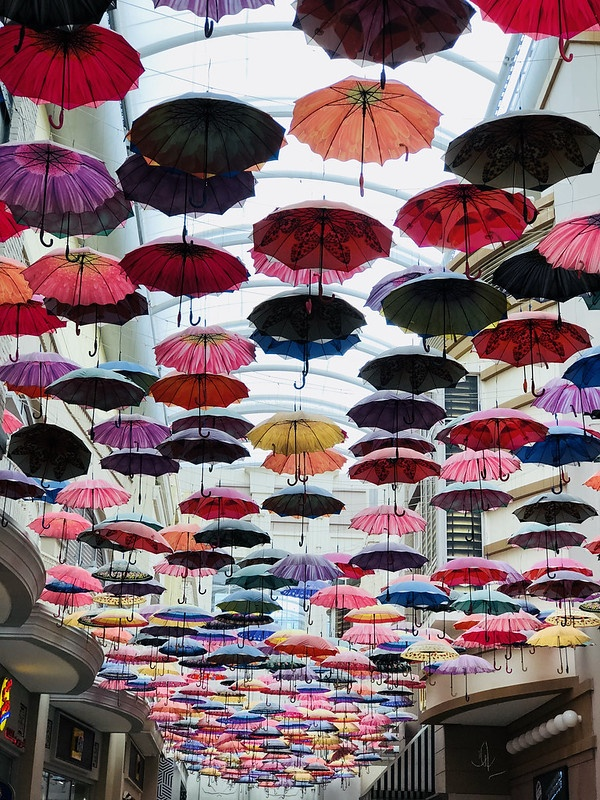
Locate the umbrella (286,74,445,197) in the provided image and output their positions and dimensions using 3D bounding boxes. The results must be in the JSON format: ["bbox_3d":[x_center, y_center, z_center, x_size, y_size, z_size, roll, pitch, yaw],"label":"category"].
[{"bbox_3d":[0.493,-1.940,9.034,1.173,0.789,1.110,0,-37,6],"label":"umbrella"}]

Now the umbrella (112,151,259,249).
[{"bbox_3d":[-0.843,-1.550,8.861,0.765,0.625,0.735,1,-40,-1],"label":"umbrella"}]

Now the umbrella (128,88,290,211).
[{"bbox_3d":[-0.629,-1.806,8.419,0.756,0.369,0.706,3,-38,-8],"label":"umbrella"}]
